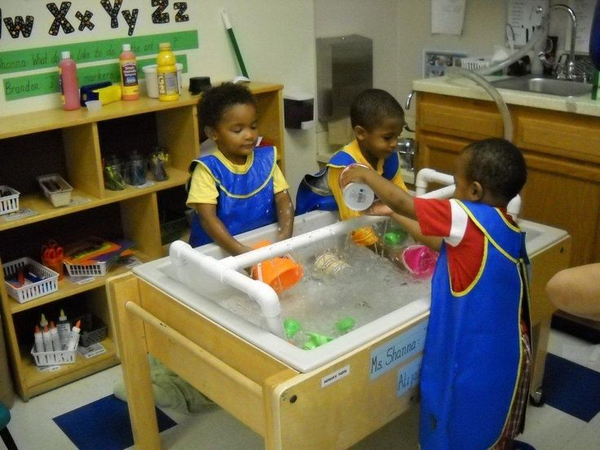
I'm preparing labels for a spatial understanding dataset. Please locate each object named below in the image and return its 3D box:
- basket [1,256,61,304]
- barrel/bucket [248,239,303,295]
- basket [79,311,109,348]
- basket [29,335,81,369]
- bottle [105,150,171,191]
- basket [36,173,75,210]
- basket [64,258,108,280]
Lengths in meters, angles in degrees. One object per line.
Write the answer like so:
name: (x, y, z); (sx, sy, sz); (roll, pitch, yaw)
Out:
basket: (-1.361, 0.274, 2.298); (0.327, 0.121, 0.180); (10, 24, 32)
barrel/bucket: (-0.066, 0.148, 1.451); (0.169, 0.100, 0.116); (-9, 21, -17)
basket: (-1.138, 0.584, 2.545); (0.148, 0.095, 0.149); (15, 23, 40)
basket: (-1.258, 0.643, 2.377); (0.216, 0.121, 0.168); (-13, 22, -25)
bottle: (-0.866, -0.297, 2.461); (0.329, 0.165, 0.135); (-11, 21, -21)
basket: (-1.232, -0.181, 2.339); (0.142, 0.110, 0.363); (-14, 23, -27)
basket: (-1.110, 0.227, 2.404); (0.144, 0.053, 0.107); (-1, 5, -5)
